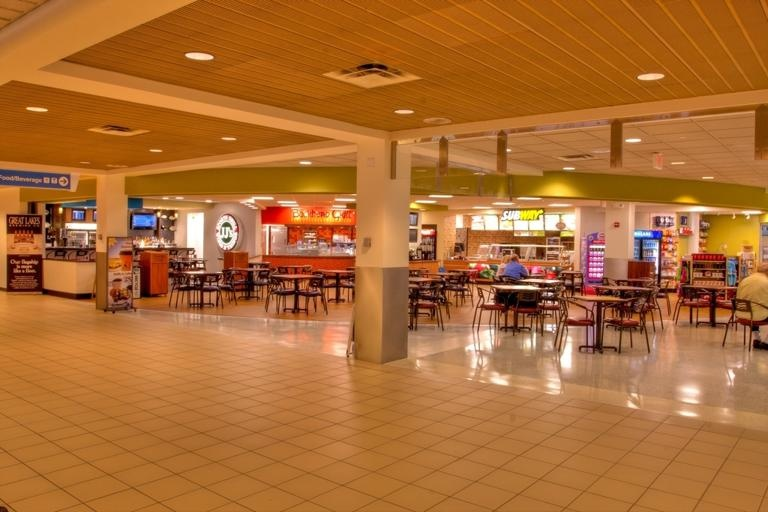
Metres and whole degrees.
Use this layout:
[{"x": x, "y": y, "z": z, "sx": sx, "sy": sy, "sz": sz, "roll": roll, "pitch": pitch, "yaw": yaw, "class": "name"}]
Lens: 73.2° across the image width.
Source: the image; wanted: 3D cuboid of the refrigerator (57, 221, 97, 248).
[{"x": -15.196, "y": -1.011, "z": 25.301, "sx": 2.097, "sy": 1.324, "sz": 1.031, "roll": 0, "pitch": 5, "yaw": -40, "class": "refrigerator"}]

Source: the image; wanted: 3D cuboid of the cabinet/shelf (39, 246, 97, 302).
[{"x": -9.923, "y": 0.693, "z": 16.300, "sx": 2.232, "sy": 1.202, "sz": 0.502, "roll": 2, "pitch": 2, "yaw": 35, "class": "cabinet/shelf"}]
